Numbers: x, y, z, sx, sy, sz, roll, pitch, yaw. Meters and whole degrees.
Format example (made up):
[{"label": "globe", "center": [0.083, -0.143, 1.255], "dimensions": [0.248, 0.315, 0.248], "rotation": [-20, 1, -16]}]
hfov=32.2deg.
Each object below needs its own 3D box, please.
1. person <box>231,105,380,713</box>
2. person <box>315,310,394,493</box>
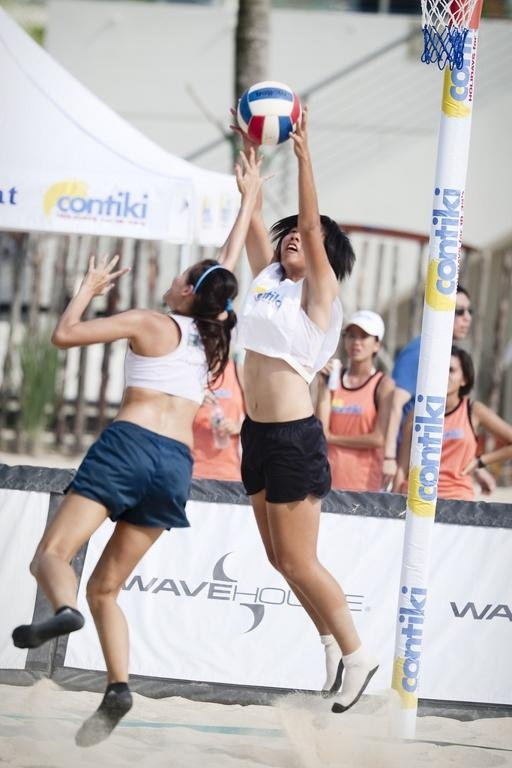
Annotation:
[{"label": "person", "center": [0.173, 0.080, 3.543], "dimensions": [0.595, 2.311, 0.658], "rotation": [2, 0, -34]}, {"label": "person", "center": [0.575, 0.118, 5.000], "dimensions": [0.415, 1.030, 0.455], "rotation": [1, 13, 7]}]
